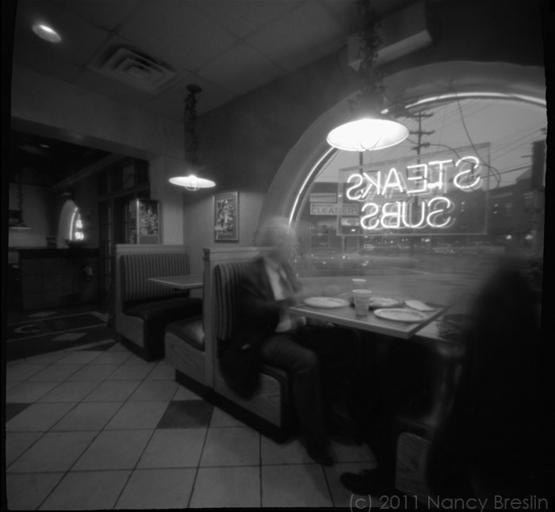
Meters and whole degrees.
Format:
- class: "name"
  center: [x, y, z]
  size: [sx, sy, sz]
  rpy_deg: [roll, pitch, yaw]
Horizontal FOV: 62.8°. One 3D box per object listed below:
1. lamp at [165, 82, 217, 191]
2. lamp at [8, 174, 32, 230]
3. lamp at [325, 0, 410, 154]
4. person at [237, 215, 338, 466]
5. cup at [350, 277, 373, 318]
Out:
- class: "lamp"
  center: [-1.083, -1.427, 5.734]
  size: [0.575, 1.325, 1.522]
  rpy_deg: [-3, 14, -13]
- class: "lamp"
  center: [-5.593, -1.143, 9.738]
  size: [0.306, 1.294, 2.020]
  rpy_deg: [-7, 16, -28]
- class: "lamp"
  center: [0.733, -1.457, 3.626]
  size: [0.600, 1.289, 1.192]
  rpy_deg: [2, 14, 8]
- class: "person"
  center: [0.160, 0.487, 3.397]
  size: [1.099, 1.423, 0.752]
  rpy_deg: [13, 18, 42]
- class: "cup"
  center: [0.585, 0.295, 3.134]
  size: [0.134, 0.240, 0.389]
  rpy_deg: [2, 15, 10]
